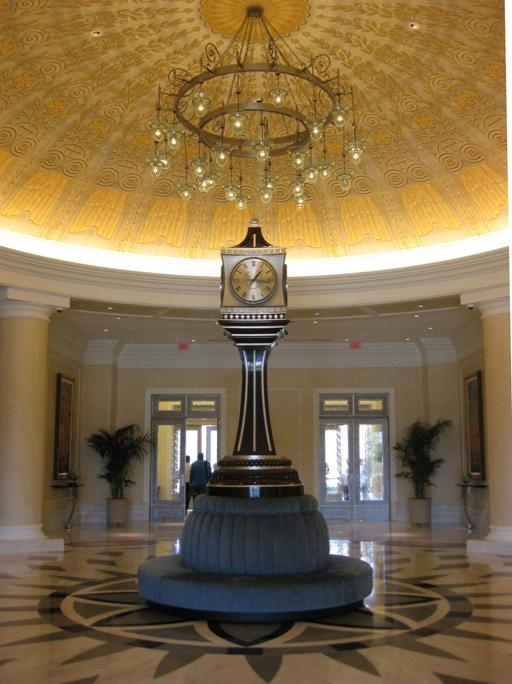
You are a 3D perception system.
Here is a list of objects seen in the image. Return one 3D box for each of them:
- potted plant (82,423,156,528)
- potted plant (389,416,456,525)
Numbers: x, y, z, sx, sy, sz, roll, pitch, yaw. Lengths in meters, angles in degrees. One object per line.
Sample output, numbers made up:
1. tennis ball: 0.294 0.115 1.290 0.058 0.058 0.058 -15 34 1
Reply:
1. potted plant: -3.045 2.852 12.685 0.923 2.133 1.106 -8 -15 25
2. potted plant: 3.637 2.783 12.517 1.311 2.195 0.753 -8 -15 28
